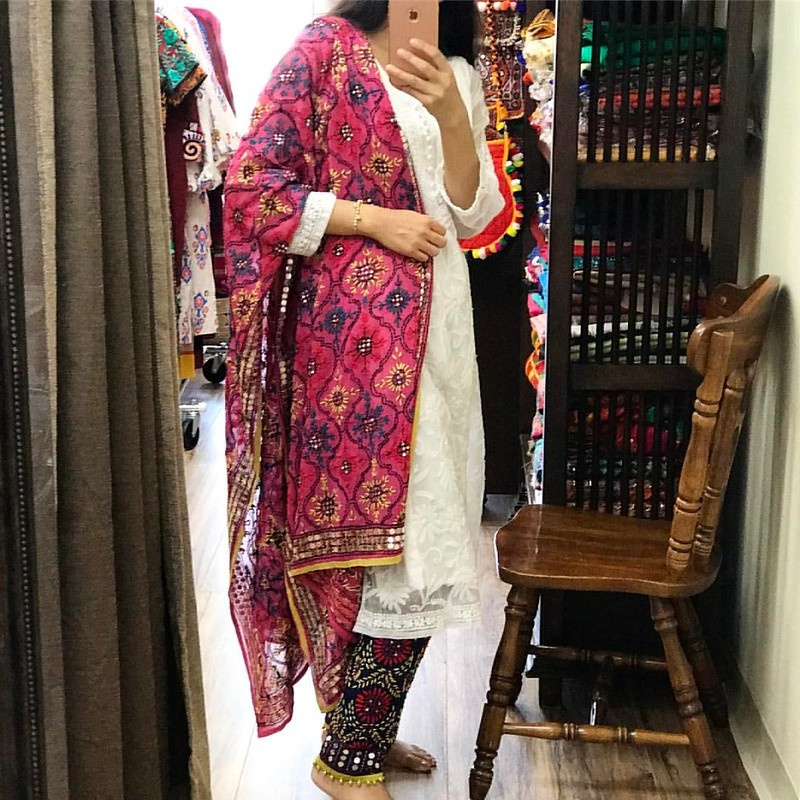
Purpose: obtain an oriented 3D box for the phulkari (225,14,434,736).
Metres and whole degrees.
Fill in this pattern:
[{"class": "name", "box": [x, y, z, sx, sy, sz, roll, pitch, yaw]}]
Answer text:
[{"class": "phulkari", "box": [-0.120, -0.002, 1.544, 0.335, 1.223, 0.166, 6, 13, 20]}]
